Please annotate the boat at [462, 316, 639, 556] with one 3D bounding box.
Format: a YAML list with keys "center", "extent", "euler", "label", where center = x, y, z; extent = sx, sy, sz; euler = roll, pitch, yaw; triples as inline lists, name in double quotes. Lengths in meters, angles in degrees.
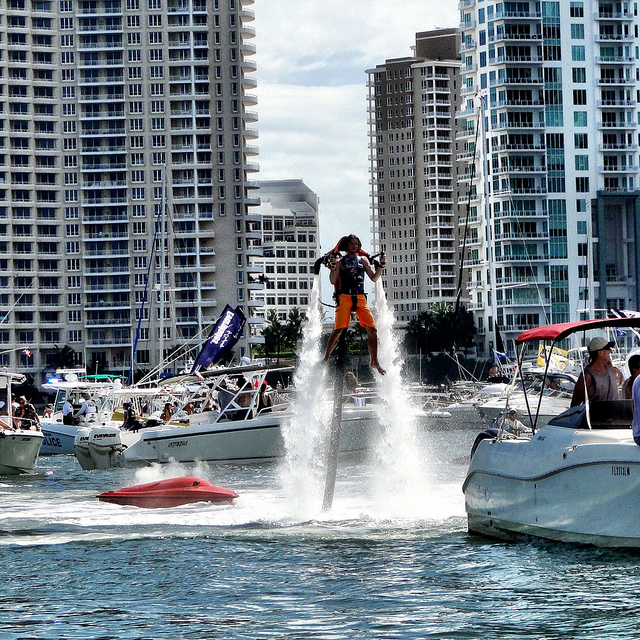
- center: [4.508, 3.029, 30.617]
  extent: [1.932, 3.182, 6.026]
  euler: [3, -7, -23]
  label: "boat"

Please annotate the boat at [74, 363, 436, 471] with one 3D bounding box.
- center: [-2.466, 2.719, 45.402]
  extent: [6.923, 2.524, 5.810]
  euler: [-3, -1, 33]
  label: "boat"
